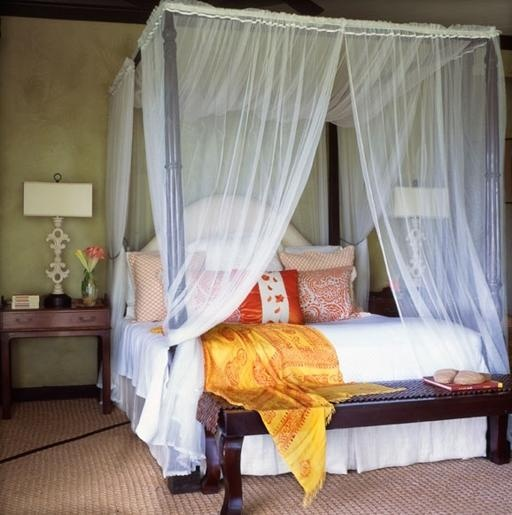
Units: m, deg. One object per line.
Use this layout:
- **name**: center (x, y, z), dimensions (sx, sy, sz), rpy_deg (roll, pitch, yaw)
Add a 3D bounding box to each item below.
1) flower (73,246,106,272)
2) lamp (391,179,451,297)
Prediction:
- **flower**: center (-1.242, 0.000, 3.858), dimensions (0.215, 0.271, 0.243), rpy_deg (0, -1, 14)
- **lamp**: center (0.812, -0.117, 2.533), dimensions (0.339, 0.538, 0.086), rpy_deg (1, -1, -31)
